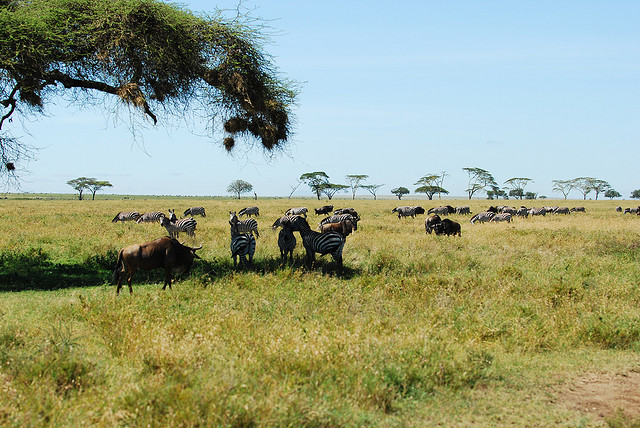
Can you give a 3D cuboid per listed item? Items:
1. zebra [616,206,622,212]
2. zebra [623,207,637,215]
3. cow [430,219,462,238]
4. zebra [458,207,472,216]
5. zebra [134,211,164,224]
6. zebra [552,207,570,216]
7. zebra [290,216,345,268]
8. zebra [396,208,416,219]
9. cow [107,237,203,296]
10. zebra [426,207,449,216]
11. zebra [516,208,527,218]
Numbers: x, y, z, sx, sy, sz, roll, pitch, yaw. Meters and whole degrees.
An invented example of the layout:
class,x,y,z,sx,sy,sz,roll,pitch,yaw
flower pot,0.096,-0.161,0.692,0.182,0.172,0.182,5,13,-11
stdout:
class,x,y,z,sx,sy,sz,roll,pitch,yaw
zebra,30.111,-0.488,68.389,0.493,0.381,0.476,-7,-8,41
zebra,27.956,-0.239,61.187,1.442,0.791,0.583,1,-1,-9
cow,6.943,0.768,36.869,1.395,0.848,1.837,1,9,9
zebra,12.799,-0.275,60.473,0.928,0.717,0.706,2,8,11
zebra,-11.764,0.230,46.799,2.774,0.767,1.429,6,10,33
zebra,21.667,-0.334,60.969,1.425,0.586,1.236,3,9,19
zebra,-0.068,1.196,27.403,3.074,2.021,0.949,5,2,39
zebra,7.312,-0.129,56.213,1.606,0.703,1.009,-8,12,-43
cow,-5.650,1.770,23.422,0.951,1.880,3.363,2,2,42
zebra,10.177,-0.212,58.158,1.473,0.753,2.900,3,9,16
zebra,17.039,-0.123,57.292,0.864,0.656,1.210,2,9,16
